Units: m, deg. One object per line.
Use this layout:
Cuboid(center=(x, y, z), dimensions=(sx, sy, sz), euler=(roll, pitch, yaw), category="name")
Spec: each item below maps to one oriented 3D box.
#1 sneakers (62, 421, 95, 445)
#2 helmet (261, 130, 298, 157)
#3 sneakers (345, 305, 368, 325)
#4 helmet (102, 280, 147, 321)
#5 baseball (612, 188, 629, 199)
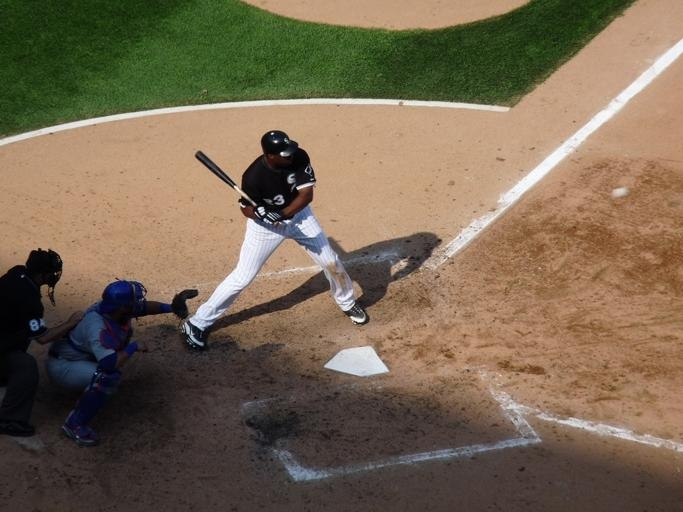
Cuboid(center=(-2.730, 1.866, 8.016), dimensions=(0.401, 0.159, 0.170), euler=(23, 44, 6), category="sneakers")
Cuboid(center=(-0.719, -1.231, 8.458), dimensions=(0.399, 0.188, 0.253), euler=(3, 45, 10), category="helmet")
Cuboid(center=(0.208, 0.731, 9.415), dimensions=(0.370, 0.161, 0.157), euler=(24, 69, 34), category="sneakers")
Cuboid(center=(-2.391, 0.440, 8.381), dimensions=(0.569, 0.382, 0.338), euler=(-10, 58, -12), category="helmet")
Cuboid(center=(3.720, -0.836, 10.215), dimensions=(0.183, 0.122, 0.235), euler=(23, 31, 8), category="baseball")
